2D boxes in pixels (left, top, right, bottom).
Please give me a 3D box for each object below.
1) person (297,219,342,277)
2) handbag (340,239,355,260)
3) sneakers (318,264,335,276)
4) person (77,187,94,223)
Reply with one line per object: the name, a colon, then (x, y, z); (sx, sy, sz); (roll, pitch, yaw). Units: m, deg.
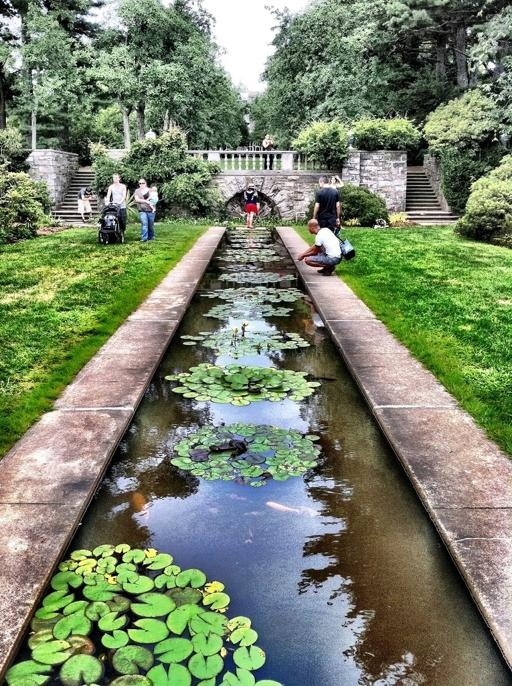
person: (1.158, -1.738, 10.685); (0.796, 0.973, 0.687); (2, 24, 24)
handbag: (1.667, -1.692, 10.776); (0.247, 0.365, 0.652); (1, 12, 7)
sneakers: (1.281, -1.320, 10.597); (0.360, 0.238, 0.120); (7, 36, 7)
person: (-6.793, -5.443, 23.099); (0.471, 1.358, 2.842); (-5, 13, -15)
